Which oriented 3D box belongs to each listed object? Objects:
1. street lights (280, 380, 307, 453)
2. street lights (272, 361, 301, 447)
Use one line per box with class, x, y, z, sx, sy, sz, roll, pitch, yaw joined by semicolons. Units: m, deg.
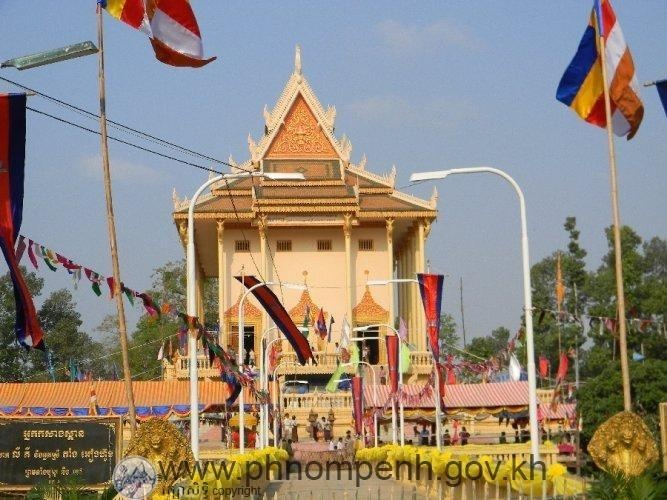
street lights;-2.134;8.085;74.048;0.766;3.556;0.622;-4;-6;-18
street lights;-2.425;8.024;71.272;0.830;4.456;0.652;-3;-6;-24
